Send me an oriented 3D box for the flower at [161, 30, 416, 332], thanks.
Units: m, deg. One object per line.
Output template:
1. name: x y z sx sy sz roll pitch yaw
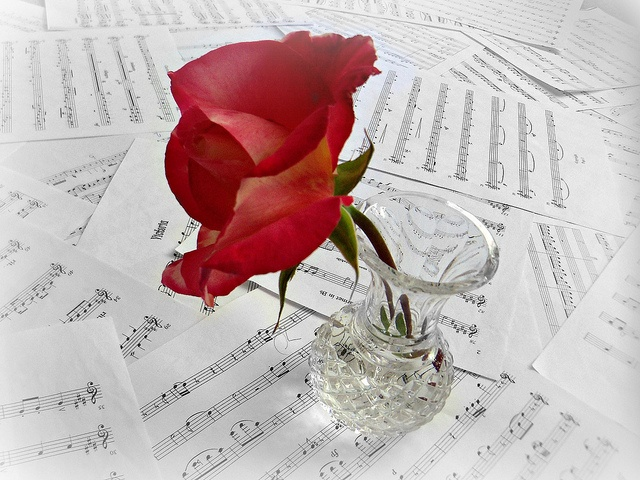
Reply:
1. flower: -0.037 -0.041 0.363 0.179 0.140 0.176 -14 60 -17

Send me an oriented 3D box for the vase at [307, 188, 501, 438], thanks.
1. vase: 0.073 0.084 0.486 0.134 0.221 0.145 7 37 0
